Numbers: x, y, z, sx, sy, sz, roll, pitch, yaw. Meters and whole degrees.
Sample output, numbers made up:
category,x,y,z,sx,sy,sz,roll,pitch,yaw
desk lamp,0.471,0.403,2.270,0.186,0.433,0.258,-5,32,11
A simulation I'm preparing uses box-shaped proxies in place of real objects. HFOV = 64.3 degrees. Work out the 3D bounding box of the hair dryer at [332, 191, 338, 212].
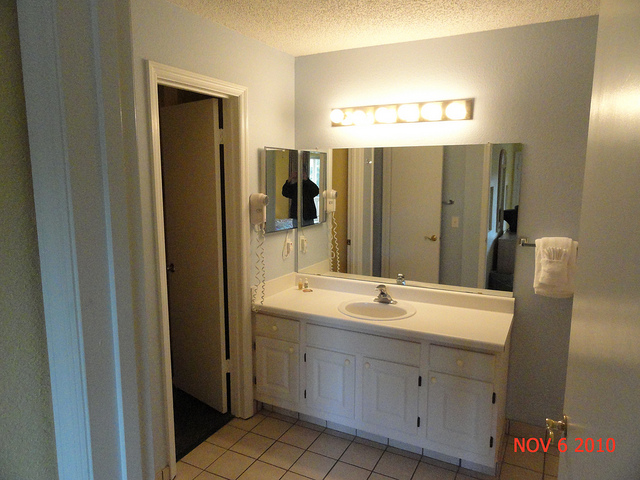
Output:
category,x,y,z,sx,sy,sz,roll,pitch,yaw
hair dryer,0.102,-0.265,3.484,0.034,0.138,0.010,0,11,3

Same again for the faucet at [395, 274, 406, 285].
category,x,y,z,sx,sy,sz,roll,pitch,yaw
faucet,0.526,0.256,3.299,0.063,0.097,0.055,-1,-4,25

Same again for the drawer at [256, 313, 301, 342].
category,x,y,z,sx,sy,sz,roll,pitch,yaw
drawer,-0.254,0.531,3.118,0.205,0.104,0.156,5,3,27

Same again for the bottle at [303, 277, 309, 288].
category,x,y,z,sx,sy,sz,roll,pitch,yaw
bottle,-0.100,0.305,3.568,0.036,0.070,0.090,1,11,3

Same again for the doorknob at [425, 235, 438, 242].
category,x,y,z,sx,sy,sz,roll,pitch,yaw
doorknob,0.704,-0.009,3.183,0.060,0.039,0.015,4,12,20

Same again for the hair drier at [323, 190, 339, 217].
category,x,y,z,sx,sy,sz,roll,pitch,yaw
hair drier,0.074,-0.254,3.494,0.110,0.181,0.008,3,11,16

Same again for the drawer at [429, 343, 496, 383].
category,x,y,z,sx,sy,sz,roll,pitch,yaw
drawer,0.773,0.605,2.685,0.367,0.178,0.257,0,6,26

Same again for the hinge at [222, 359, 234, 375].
category,x,y,z,sx,sy,sz,roll,pitch,yaw
hinge,-0.585,0.807,3.259,0.073,0.101,0.047,0,11,-1

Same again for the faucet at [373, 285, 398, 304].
category,x,y,z,sx,sy,sz,roll,pitch,yaw
faucet,0.409,0.347,3.211,0.152,0.094,0.081,2,8,18

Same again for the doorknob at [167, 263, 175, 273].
category,x,y,z,sx,sy,sz,roll,pitch,yaw
doorknob,-1.015,0.190,3.467,0.050,0.068,0.032,10,15,43

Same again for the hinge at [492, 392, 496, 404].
category,x,y,z,sx,sy,sz,roll,pitch,yaw
hinge,0.865,0.782,2.530,0.015,0.056,0.004,3,11,14

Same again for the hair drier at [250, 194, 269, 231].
category,x,y,z,sx,sy,sz,roll,pitch,yaw
hair drier,-0.356,-0.168,3.158,0.090,0.242,0.184,4,12,20

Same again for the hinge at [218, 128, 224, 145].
category,x,y,z,sx,sy,sz,roll,pitch,yaw
hinge,-0.592,-0.621,3.053,0.032,0.088,0.035,-1,11,-3
